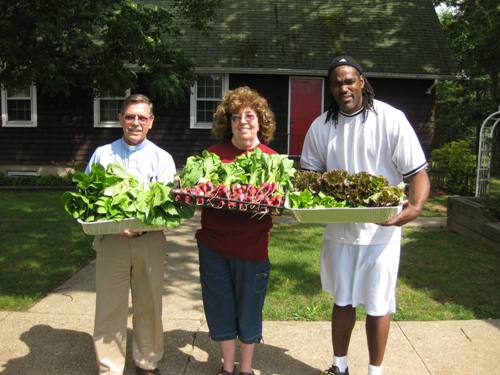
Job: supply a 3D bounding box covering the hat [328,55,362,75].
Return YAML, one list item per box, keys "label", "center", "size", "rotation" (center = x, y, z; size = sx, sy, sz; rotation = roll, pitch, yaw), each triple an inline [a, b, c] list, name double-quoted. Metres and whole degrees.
- label: "hat"
  center: [0.960, -1.219, 4.684]
  size: [0.317, 0.223, 0.380]
  rotation: [5, 8, 16]

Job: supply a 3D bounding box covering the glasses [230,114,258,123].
- label: "glasses"
  center: [-0.056, -0.704, 4.763]
  size: [0.246, 0.080, 0.069]
  rotation: [3, 8, 4]
